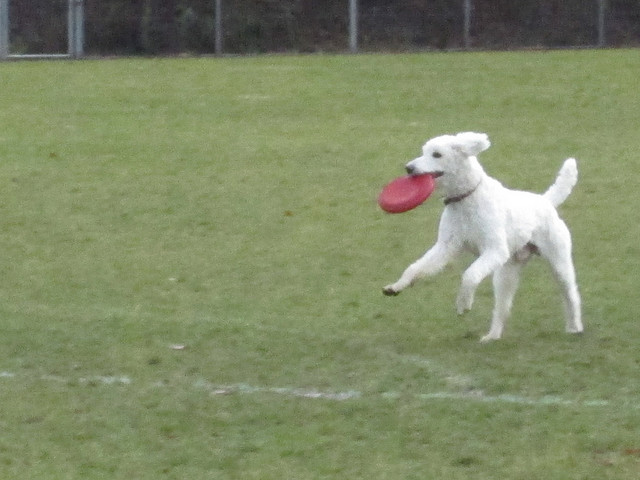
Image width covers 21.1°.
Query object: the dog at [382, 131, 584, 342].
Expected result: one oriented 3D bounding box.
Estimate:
[{"bbox_3d":[2.069,-0.397,20.396,2.017,2.613,2.257,15,23,26],"label":"dog"}]
